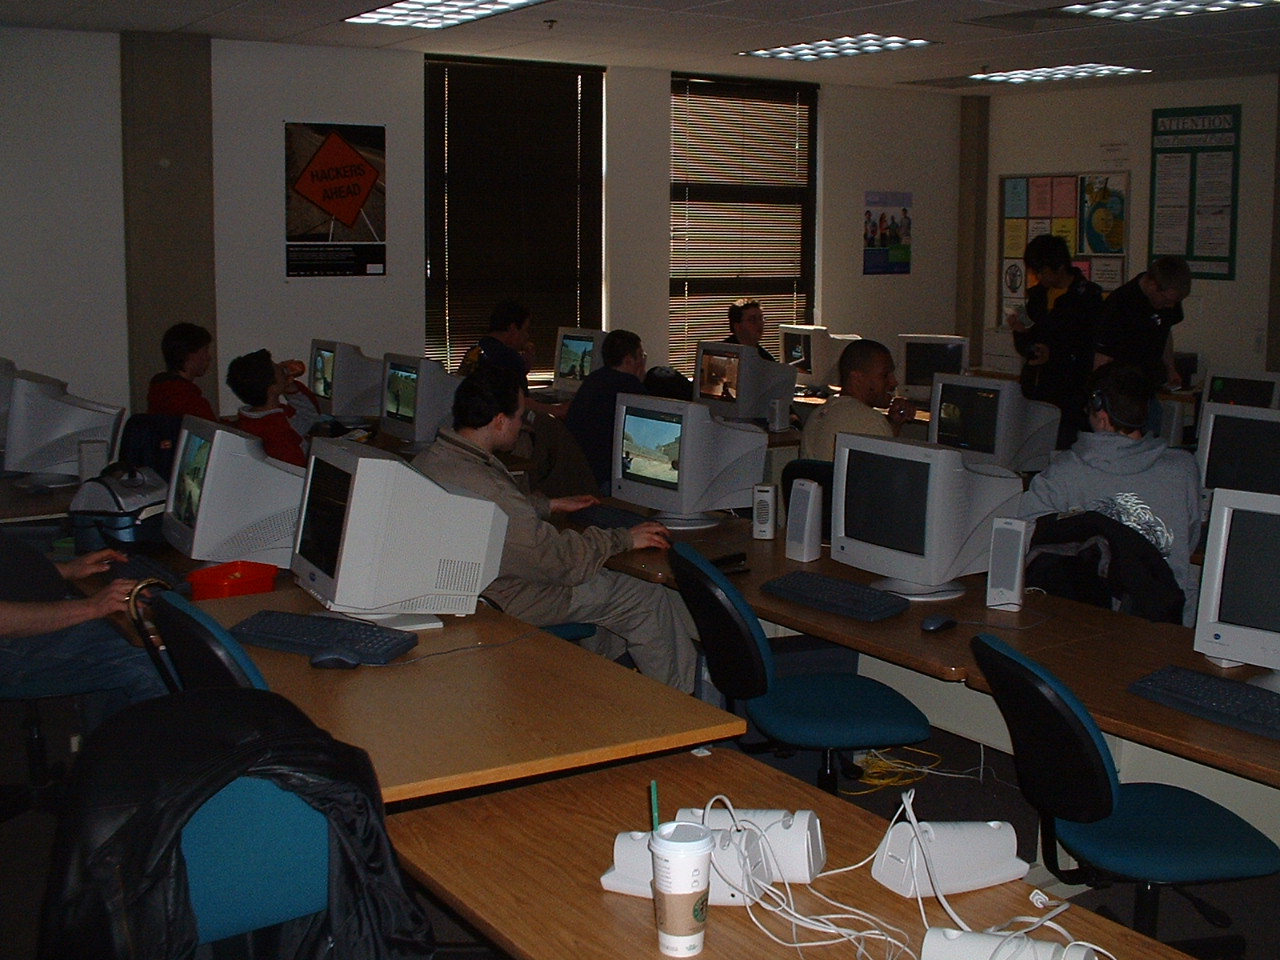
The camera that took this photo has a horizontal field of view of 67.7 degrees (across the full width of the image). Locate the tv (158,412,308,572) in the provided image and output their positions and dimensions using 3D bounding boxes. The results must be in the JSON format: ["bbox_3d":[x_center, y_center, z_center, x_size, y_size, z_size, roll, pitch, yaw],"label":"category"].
[{"bbox_3d":[-1.486,0.072,3.504,0.576,0.551,0.568,6,-1,-38],"label":"tv"}]

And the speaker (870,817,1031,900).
[{"bbox_3d":[0.576,0.674,1.767,0.226,0.089,0.150,-1,-12,-21],"label":"speaker"}]

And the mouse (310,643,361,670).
[{"bbox_3d":[-0.831,0.486,2.618,0.107,0.034,0.058,3,8,2],"label":"mouse"}]

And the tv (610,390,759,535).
[{"bbox_3d":[0.150,-0.126,4.572,0.644,0.647,0.638,-9,10,-37],"label":"tv"}]

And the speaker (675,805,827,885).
[{"bbox_3d":[0.195,0.651,1.686,0.187,0.102,0.104,2,11,20],"label":"speaker"}]

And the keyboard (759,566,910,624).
[{"bbox_3d":[0.660,0.404,3.348,0.194,0.053,0.367,-12,19,-41],"label":"keyboard"}]

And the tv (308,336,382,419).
[{"bbox_3d":[-2.116,-0.760,6.930,0.585,0.584,0.559,-2,8,-29],"label":"tv"}]

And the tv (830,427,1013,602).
[{"bbox_3d":[1.089,0.069,3.669,0.598,0.599,0.578,-10,9,-30],"label":"tv"}]

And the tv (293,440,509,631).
[{"bbox_3d":[-0.773,0.164,3.090,0.582,0.456,0.589,-2,7,-29],"label":"tv"}]

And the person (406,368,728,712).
[{"bbox_3d":[-0.235,0.230,3.676,1.194,1.607,0.800,-15,28,-23],"label":"person"}]

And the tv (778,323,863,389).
[{"bbox_3d":[1.659,-1.130,8.535,0.642,0.492,0.550,-9,13,-23],"label":"tv"}]

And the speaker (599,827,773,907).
[{"bbox_3d":[0.085,0.686,1.787,0.273,0.105,0.160,-1,0,14],"label":"speaker"}]
